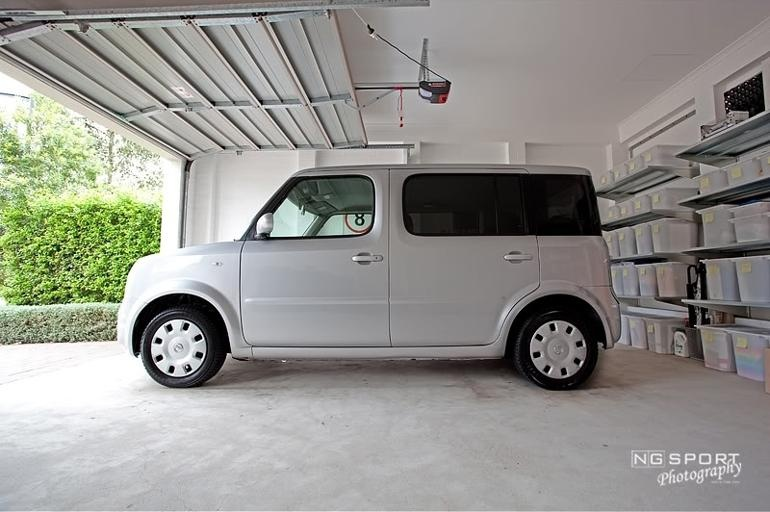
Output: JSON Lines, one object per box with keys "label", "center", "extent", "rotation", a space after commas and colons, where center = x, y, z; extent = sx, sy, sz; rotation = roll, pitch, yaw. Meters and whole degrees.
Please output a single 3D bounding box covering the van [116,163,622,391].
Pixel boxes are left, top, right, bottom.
{"label": "van", "center": [-0.169, 0.279, 5.416], "extent": [5.262, 1.971, 2.471], "rotation": [1, -5, 0]}
